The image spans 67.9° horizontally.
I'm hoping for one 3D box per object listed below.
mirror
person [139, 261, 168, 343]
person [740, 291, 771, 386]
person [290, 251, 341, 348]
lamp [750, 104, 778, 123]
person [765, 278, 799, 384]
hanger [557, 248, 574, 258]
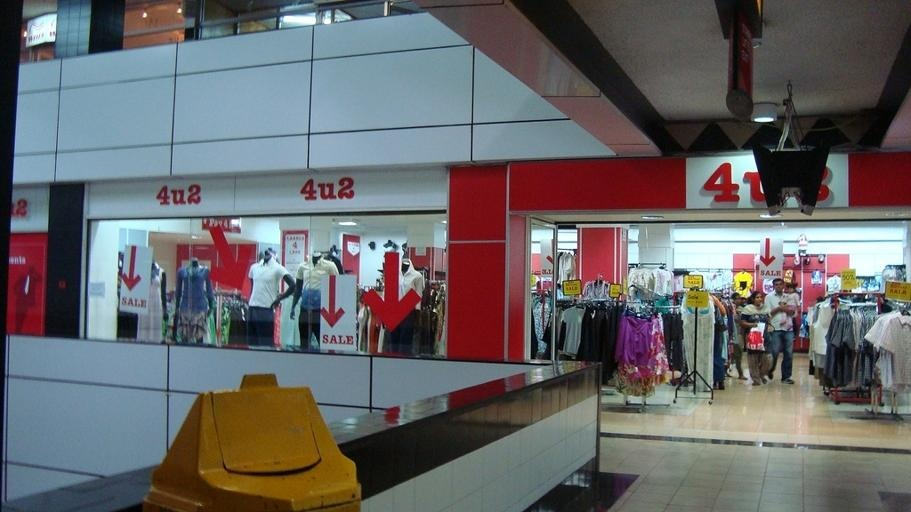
[{"bbox_3d":[1.370,0.514,10.602,0.367,2.201,1.080,1,3,9],"label":"mirror"},{"bbox_3d":[-4.980,0.747,11.246,0.353,1.522,0.372,-1,0,8],"label":"person"},{"bbox_3d":[6.103,1.645,13.772,0.651,1.671,0.744,-1,-4,20],"label":"person"},{"bbox_3d":[-2.233,0.673,10.532,0.737,1.432,0.319,3,3,28],"label":"person"},{"bbox_3d":[3.981,-1.863,8.723,0.296,0.193,0.374,2,4,22],"label":"lamp"},{"bbox_3d":[6.720,1.429,13.998,0.595,2.451,0.687,0,-1,-41],"label":"person"},{"bbox_3d":[2.193,-0.057,13.338,0.316,0.143,0.464,1,3,8],"label":"hanger"}]
